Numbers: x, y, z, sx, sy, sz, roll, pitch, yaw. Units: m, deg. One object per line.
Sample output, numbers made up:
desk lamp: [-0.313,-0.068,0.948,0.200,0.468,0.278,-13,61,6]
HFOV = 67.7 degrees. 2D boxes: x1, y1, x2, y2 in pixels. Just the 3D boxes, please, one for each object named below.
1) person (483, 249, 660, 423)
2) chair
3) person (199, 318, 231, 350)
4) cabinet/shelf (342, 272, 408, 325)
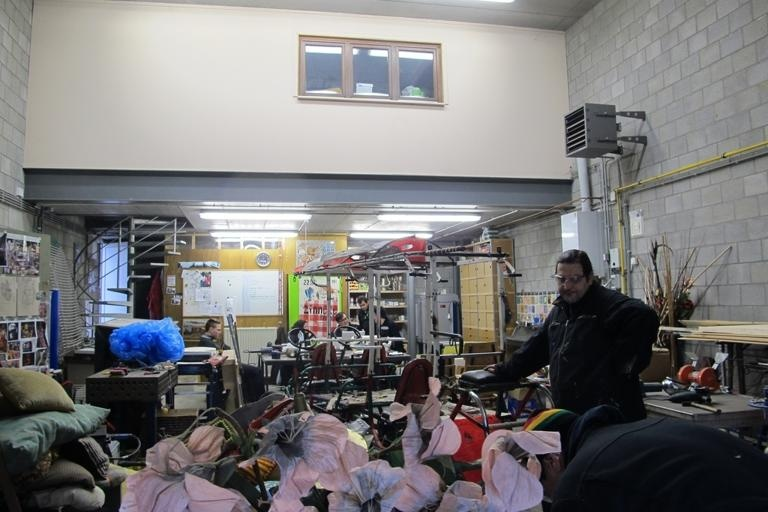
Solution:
person: [1.552,0.583,4.371,0.926,1.256,0.339,0,-5,8]
chair: [-0.591,1.560,7.890,0.987,0.994,0.798,-2,-3,-12]
person: [-2.928,1.353,9.881,0.403,0.561,0.821,-3,-2,-11]
cabinet/shelf: [-0.211,0.874,11.582,1.297,1.394,0.408,4,-8,-21]
